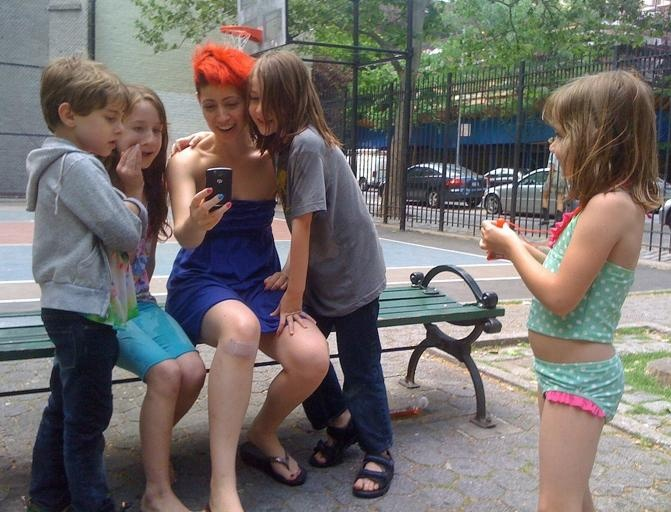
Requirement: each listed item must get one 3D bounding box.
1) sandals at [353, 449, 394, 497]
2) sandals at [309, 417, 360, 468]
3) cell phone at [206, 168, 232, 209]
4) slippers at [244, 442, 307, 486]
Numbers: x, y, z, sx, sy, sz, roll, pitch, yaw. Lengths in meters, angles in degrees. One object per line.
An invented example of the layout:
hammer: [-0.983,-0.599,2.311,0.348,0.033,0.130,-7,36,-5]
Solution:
sandals: [0.200,1.125,2.813,0.257,0.171,0.201,-3,11,-10]
sandals: [0.017,1.063,3.120,0.139,0.170,0.388,-7,-1,30]
cell phone: [-0.564,-0.317,2.601,0.113,0.194,0.157,0,11,5]
slippers: [-0.333,1.091,2.929,0.375,0.124,0.151,21,27,31]
